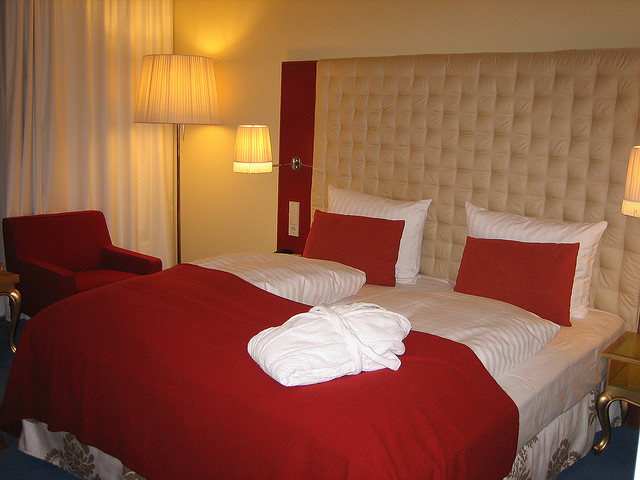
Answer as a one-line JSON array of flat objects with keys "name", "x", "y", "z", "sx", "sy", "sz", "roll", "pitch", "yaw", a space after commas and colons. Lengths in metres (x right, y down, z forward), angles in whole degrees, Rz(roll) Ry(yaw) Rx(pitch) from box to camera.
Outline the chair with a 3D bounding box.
[{"name": "chair", "x": -2.025, "y": 0.115, "z": 4.150, "sx": 0.954, "sy": 1.015, "sz": 0.957, "roll": 6, "pitch": 10, "yaw": 35}]

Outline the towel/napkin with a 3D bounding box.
[{"name": "towel/napkin", "x": 0.061, "y": 0.467, "z": 2.189, "sx": 0.429, "sy": 0.157, "sz": 0.437, "roll": -9, "pitch": 13, "yaw": -22}]
